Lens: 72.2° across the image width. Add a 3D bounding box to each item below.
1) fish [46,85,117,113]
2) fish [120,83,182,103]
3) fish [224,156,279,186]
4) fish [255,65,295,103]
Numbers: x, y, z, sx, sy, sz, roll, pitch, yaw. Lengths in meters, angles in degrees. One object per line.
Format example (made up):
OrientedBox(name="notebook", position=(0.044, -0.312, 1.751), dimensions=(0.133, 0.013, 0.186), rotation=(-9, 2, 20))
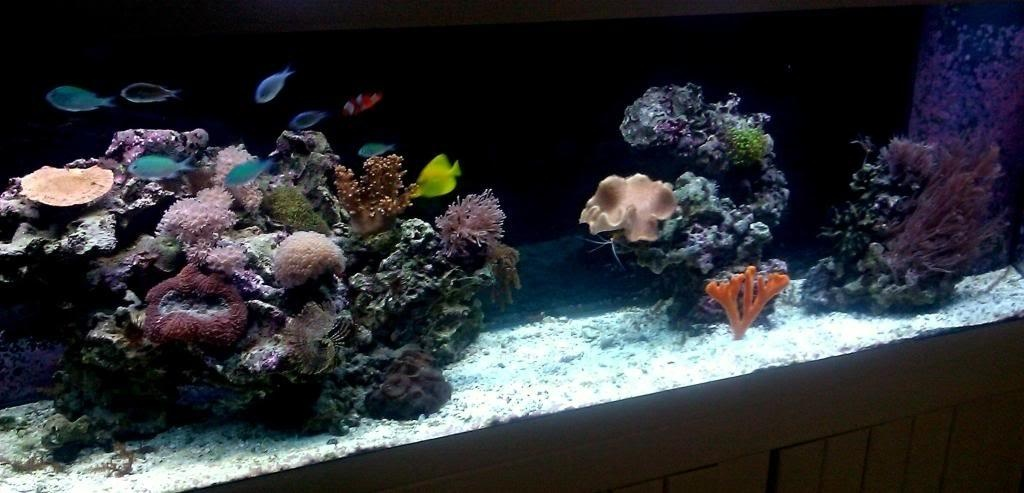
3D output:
OrientedBox(name="fish", position=(-3.411, -1.118, 5.542), dimensions=(0.254, 0.111, 0.294), rotation=(-2, -7, 25))
OrientedBox(name="fish", position=(-2.909, -1.229, 5.644), dimensions=(0.397, 0.157, 0.061), rotation=(-4, 61, -25))
OrientedBox(name="fish", position=(-2.197, -0.629, 5.887), dimensions=(0.422, 0.243, 0.370), rotation=(-12, 29, -18))
OrientedBox(name="fish", position=(-1.955, -1.340, 5.786), dimensions=(0.391, 0.201, 0.088), rotation=(-37, 23, -10))
